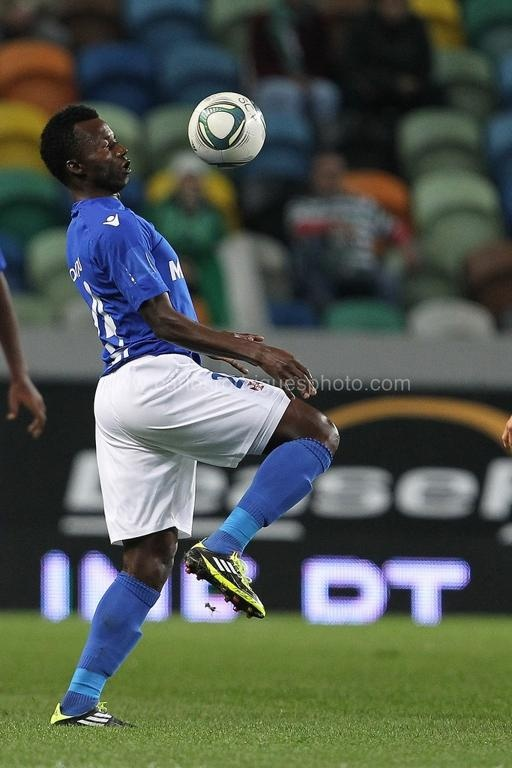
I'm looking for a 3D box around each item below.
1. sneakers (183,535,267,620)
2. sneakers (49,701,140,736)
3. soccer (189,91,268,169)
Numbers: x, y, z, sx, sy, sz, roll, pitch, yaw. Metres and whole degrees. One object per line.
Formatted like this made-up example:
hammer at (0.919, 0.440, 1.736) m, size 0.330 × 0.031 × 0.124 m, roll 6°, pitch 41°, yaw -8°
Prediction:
sneakers at (-0.098, 0.558, 2.981) m, size 0.199 × 0.226 × 0.201 m, roll -6°, pitch 40°, yaw -6°
sneakers at (-0.490, 0.990, 3.085) m, size 0.283 × 0.084 × 0.094 m, roll 3°, pitch 72°, yaw -2°
soccer at (-0.109, -0.884, 3.646) m, size 0.300 × 0.230 × 0.248 m, roll -4°, pitch 12°, yaw -7°
